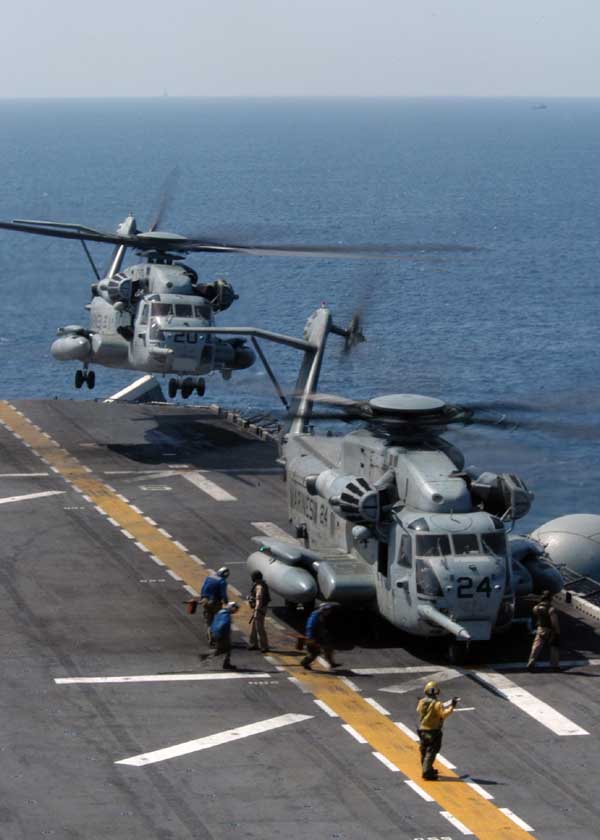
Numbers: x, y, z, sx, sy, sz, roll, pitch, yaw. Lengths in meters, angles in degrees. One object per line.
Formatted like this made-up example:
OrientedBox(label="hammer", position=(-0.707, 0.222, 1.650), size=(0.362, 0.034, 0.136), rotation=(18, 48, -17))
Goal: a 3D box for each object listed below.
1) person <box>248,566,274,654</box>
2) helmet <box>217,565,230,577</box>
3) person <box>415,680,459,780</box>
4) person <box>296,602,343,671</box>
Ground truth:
OrientedBox(label="person", position=(-0.954, 4.388, 21.984), size=(0.518, 1.763, 1.248), rotation=(3, 7, -2))
OrientedBox(label="helmet", position=(-1.786, 3.477, 21.682), size=(0.230, 0.219, 0.370), rotation=(5, 7, 15))
OrientedBox(label="person", position=(2.154, 4.974, 15.348), size=(0.571, 1.589, 0.868), rotation=(5, 8, 8))
OrientedBox(label="person", position=(0.424, 4.652, 20.724), size=(0.814, 1.532, 0.994), rotation=(3, 8, 1))
